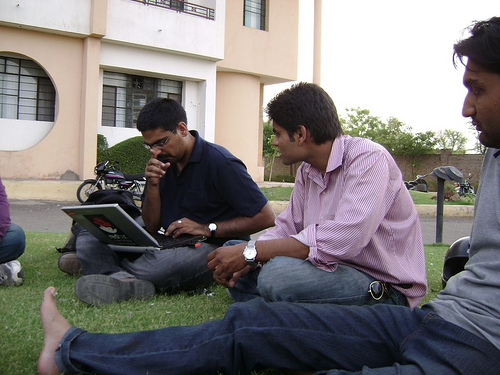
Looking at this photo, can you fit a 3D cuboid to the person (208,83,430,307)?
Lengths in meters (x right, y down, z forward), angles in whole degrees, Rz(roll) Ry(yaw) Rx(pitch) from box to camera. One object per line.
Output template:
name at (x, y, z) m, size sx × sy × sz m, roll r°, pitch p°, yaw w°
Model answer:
person at (0.412, 0.100, 2.527) m, size 1.148 × 1.390 × 1.224 m, roll 0°, pitch 1°, yaw -3°

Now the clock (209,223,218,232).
clock at (-0.279, 0.318, 3.264) m, size 0.057 × 0.056 × 0.039 m, roll -1°, pitch 46°, yaw -8°

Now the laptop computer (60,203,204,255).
laptop computer at (-0.923, 0.294, 3.045) m, size 0.580 × 0.374 × 0.590 m, roll -1°, pitch 18°, yaw 40°

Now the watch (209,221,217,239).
watch at (-0.293, 0.356, 3.281) m, size 0.055 × 0.097 × 0.058 m, roll -11°, pitch 5°, yaw -40°

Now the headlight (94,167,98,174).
headlight at (-4.226, -0.459, 11.193) m, size 0.040 × 0.154 × 0.192 m, roll -10°, pitch 5°, yaw -36°

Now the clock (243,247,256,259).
clock at (0.000, 0.366, 2.276) m, size 0.047 × 0.070 × 0.073 m, roll 2°, pitch -9°, yaw -36°

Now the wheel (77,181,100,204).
wheel at (-4.427, 0.092, 11.137) m, size 0.610 × 0.532 × 0.846 m, roll -9°, pitch 4°, yaw -22°

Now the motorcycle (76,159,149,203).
motorcycle at (-3.753, -0.191, 11.505) m, size 2.100 × 1.196 × 1.057 m, roll -1°, pitch 5°, yaw -37°
